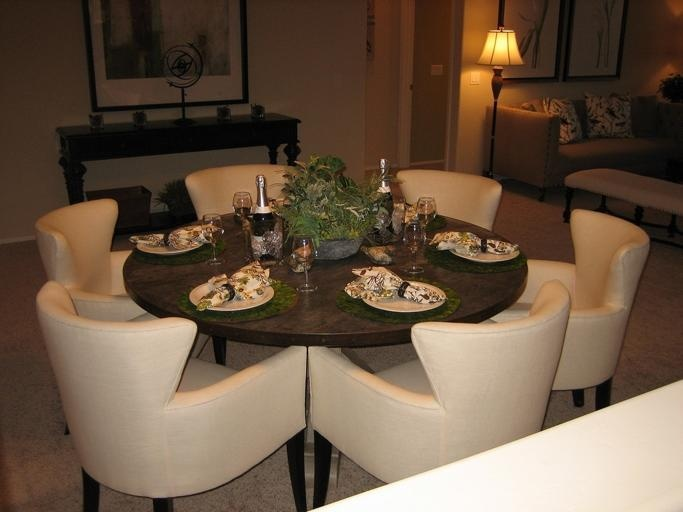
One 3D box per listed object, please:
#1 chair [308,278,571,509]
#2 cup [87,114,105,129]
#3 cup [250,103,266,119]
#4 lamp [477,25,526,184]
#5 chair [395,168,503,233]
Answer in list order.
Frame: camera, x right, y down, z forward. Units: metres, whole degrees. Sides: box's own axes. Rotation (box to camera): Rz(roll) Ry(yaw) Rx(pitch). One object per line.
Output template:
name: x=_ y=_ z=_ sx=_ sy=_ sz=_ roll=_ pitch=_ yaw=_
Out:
chair: x=0.272 y=0.531 z=1.754 sx=0.864 sy=0.826 sz=0.395 roll=1 pitch=9 yaw=21
cup: x=-1.990 y=-1.094 z=4.400 sx=0.158 sy=0.114 sz=0.156 roll=4 pitch=24 yaw=-2
cup: x=-0.784 y=-1.355 z=5.012 sx=0.148 sy=0.148 sz=0.160 roll=0 pitch=-2 yaw=0
lamp: x=1.839 y=-1.812 z=6.229 sx=0.449 sy=1.771 sz=0.607 roll=0 pitch=9 yaw=14
chair: x=0.628 y=-0.358 z=3.031 sx=0.478 sy=0.488 sz=0.428 roll=12 pitch=19 yaw=29
